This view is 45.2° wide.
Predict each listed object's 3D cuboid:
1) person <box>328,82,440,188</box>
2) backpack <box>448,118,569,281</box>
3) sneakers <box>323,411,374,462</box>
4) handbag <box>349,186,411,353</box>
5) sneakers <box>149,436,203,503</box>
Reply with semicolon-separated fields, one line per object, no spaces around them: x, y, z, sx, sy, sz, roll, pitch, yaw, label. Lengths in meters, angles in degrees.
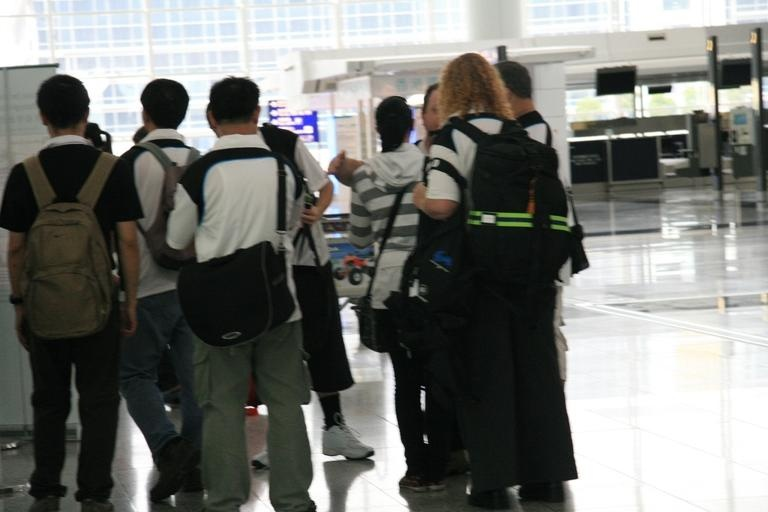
0.096;-0.800;6.393;0.701;0.707;0.298;1;-3;3;person
0.761;-0.340;5.591;0.655;1.027;0.262;-5;4;3;backpack
-0.251;1.281;6.481;0.162;0.257;0.461;-9;4;-44;sneakers
-0.066;0.095;6.044;0.253;1.076;0.469;-9;5;-43;handbag
-1.325;1.366;5.931;0.211;0.555;0.256;1;48;-44;sneakers
